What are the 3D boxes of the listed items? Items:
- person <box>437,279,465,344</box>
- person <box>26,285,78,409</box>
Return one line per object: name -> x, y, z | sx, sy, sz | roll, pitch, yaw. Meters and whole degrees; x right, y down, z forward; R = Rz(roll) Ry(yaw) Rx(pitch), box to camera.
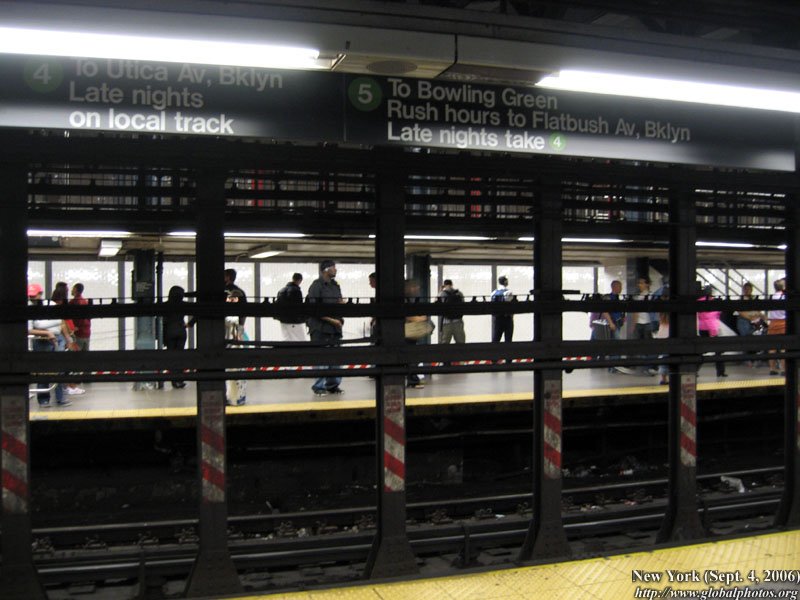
person -> 0.765, 0.255, 13.369 | 0.392, 1.190, 0.357 | -4, 29, 3
person -> -4.533, 0.568, 12.072 | 0.521, 1.645, 0.454 | 4, 3, 6
